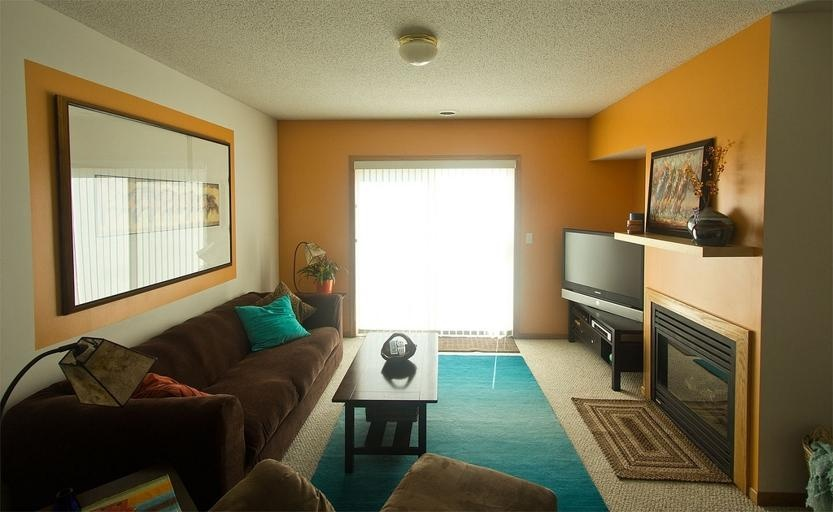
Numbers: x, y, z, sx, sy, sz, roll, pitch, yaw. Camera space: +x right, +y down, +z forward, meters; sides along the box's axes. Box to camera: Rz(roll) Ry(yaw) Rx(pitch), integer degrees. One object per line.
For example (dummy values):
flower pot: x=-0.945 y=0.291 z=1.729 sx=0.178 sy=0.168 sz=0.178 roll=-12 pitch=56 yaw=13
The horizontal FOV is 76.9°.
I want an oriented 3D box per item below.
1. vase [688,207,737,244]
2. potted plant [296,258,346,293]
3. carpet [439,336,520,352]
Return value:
vase: x=2.288 y=-0.235 z=4.069 sx=0.363 sy=0.252 sz=0.349 roll=1 pitch=8 yaw=41
potted plant: x=-1.175 y=0.252 z=6.469 sx=0.480 sy=0.317 sz=0.487 roll=3 pitch=-4 yaw=-44
carpet: x=0.753 y=1.090 z=6.493 sx=0.953 sy=0.040 sz=0.591 roll=1 pitch=8 yaw=2
